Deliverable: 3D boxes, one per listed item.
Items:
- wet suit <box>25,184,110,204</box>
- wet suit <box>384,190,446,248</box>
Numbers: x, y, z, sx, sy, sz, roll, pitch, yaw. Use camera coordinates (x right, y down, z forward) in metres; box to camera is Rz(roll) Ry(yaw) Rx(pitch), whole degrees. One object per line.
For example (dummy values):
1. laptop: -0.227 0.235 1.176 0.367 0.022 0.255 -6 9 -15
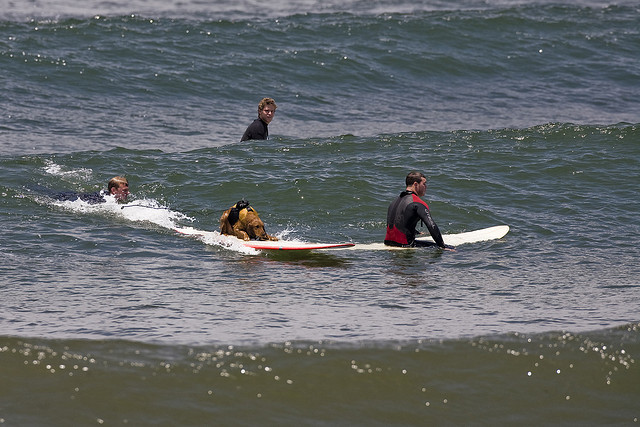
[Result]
1. wet suit: -9.386 -0.612 46.137 3.957 0.493 0.983 5 10 24
2. wet suit: 3.221 0.292 44.020 1.462 1.218 2.160 -8 16 -31
